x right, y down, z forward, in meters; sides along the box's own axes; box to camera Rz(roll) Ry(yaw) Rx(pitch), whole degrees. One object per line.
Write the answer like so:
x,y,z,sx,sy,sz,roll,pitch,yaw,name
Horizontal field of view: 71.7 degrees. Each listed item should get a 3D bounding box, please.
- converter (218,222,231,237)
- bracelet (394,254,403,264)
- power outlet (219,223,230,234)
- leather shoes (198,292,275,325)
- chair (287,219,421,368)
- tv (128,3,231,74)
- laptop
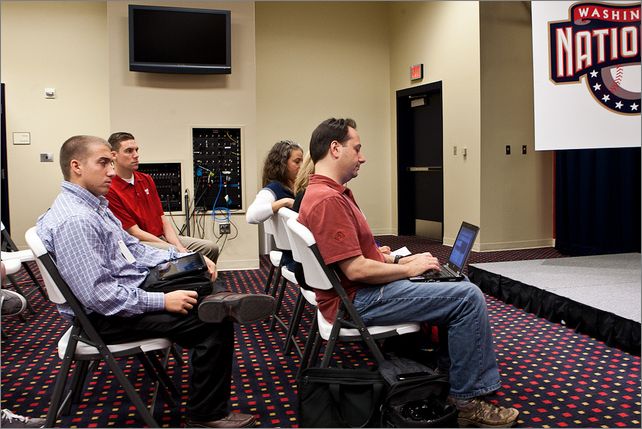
-1.318,0.229,6.050,0.148,0.158,0.144,0,3,-25,converter
0.522,0.311,3.013,0.057,0.069,0.042,9,6,-25,bracelet
-1.327,0.209,6.072,0.195,0.212,0.108,0,2,-14,power outlet
-0.474,0.528,2.635,0.460,0.190,0.234,2,2,-1,leather shoes
0.115,0.409,3.226,0.969,1.443,0.752,-3,4,-9,chair
-1.927,-2.322,5.913,0.887,0.700,0.068,0,3,-11,tv
0.863,0.281,2.962,0.304,0.428,0.452,13,3,-9,laptop
